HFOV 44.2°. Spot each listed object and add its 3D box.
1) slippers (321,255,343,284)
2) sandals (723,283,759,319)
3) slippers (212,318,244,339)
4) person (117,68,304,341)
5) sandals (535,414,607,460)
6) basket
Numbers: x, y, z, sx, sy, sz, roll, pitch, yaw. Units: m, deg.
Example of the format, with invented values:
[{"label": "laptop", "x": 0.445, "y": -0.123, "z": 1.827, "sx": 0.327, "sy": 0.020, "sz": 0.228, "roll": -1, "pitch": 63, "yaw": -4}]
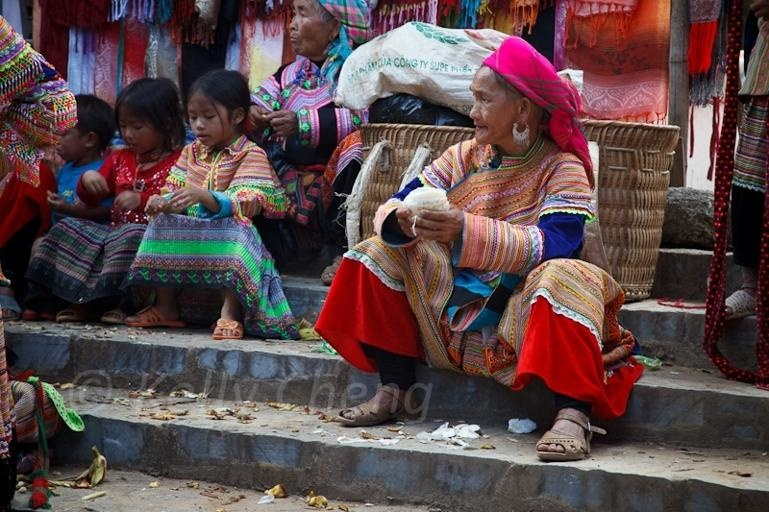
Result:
[{"label": "slippers", "x": -0.341, "y": 0.087, "z": 6.175, "sx": 0.135, "sy": 0.198, "sz": 0.078, "roll": 7, "pitch": -27, "yaw": 45}, {"label": "sandals", "x": 1.968, "y": 0.262, "z": 5.212, "sx": 0.335, "sy": 0.140, "sz": 0.110, "roll": -1, "pitch": 0, "yaw": -36}, {"label": "slippers", "x": -0.942, "y": 0.437, "z": 5.659, "sx": 0.178, "sy": 0.107, "sz": 0.170, "roll": 0, "pitch": 7, "yaw": -10}, {"label": "person", "x": -1.063, "y": -0.345, "z": 5.855, "sx": 1.021, "sy": 1.637, "sz": 0.702, "roll": 0, "pitch": 6, "yaw": -7}, {"label": "sandals", "x": 0.852, "y": 0.848, "z": 4.491, "sx": 0.252, "sy": 0.207, "sz": 0.224, "roll": 2, "pitch": 7, "yaw": 10}, {"label": "basket", "x": 0.893, "y": -0.382, "z": 5.911, "sx": 1.409, "sy": 0.736, "sz": 1.168, "roll": 3, "pitch": 1, "yaw": -3}]
